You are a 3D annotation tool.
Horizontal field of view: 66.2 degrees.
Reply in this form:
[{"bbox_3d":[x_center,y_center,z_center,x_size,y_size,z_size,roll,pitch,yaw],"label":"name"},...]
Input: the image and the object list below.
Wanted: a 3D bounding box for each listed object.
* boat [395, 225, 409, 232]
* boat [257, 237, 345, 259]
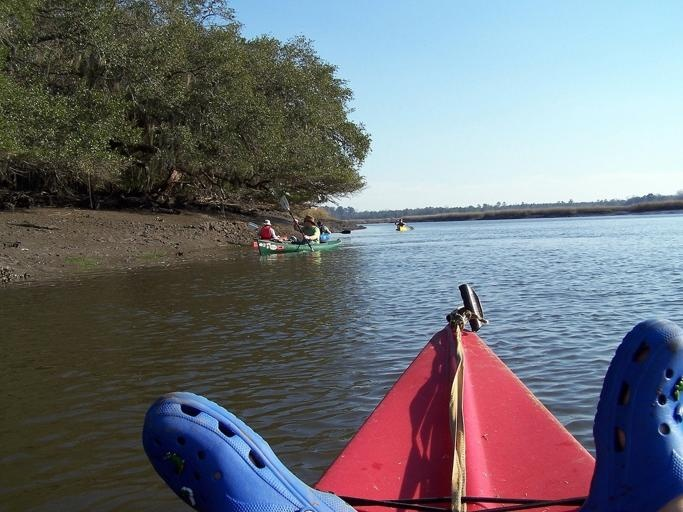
[{"bbox_3d":[6.052,-2.888,54.200,1.372,0.620,1.753,6,3,10],"label":"boat"},{"bbox_3d":[-1.760,-0.430,24.162,1.304,0.801,6.189,3,6,40],"label":"boat"}]
